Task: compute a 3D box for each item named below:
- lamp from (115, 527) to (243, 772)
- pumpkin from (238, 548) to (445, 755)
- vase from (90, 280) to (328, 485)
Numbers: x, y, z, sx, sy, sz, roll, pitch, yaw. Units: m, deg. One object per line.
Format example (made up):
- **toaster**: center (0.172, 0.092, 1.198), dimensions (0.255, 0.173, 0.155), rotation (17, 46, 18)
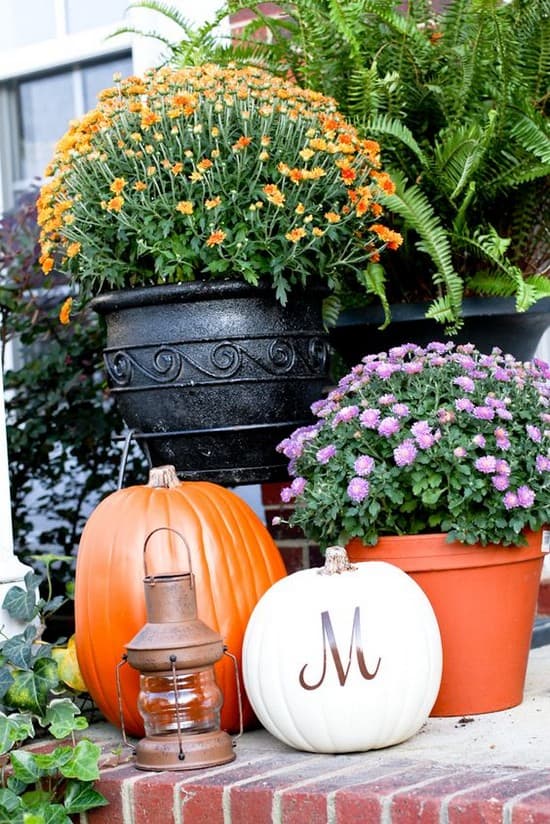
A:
- **lamp**: center (-0.151, 0.358, 1.392), dimensions (0.178, 0.334, 0.168), rotation (-7, -9, 18)
- **pumpkin**: center (0.072, 0.343, 1.431), dimensions (0.303, 0.257, 0.273), rotation (-7, -5, -13)
- **vase**: center (-0.138, -0.053, 1.873), dimensions (0.415, 0.376, 0.346), rotation (-5, 4, -44)
